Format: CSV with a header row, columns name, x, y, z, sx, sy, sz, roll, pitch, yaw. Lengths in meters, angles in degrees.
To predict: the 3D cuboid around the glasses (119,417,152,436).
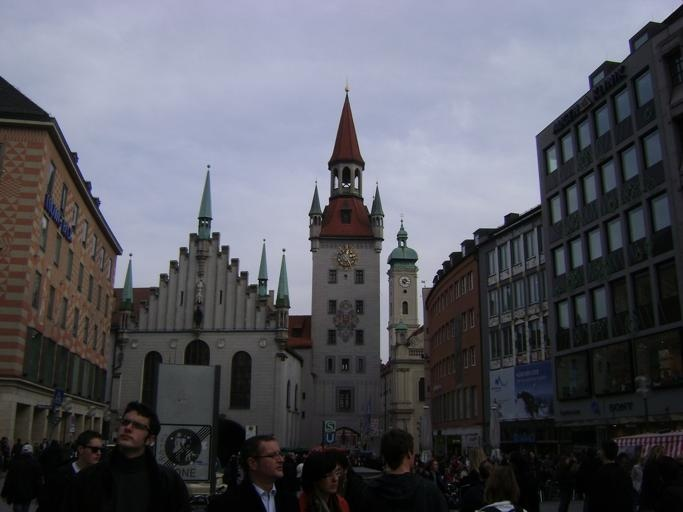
name,x,y,z,sx,sy,sz,roll,pitch,yaw
glasses,-1.813,1.512,6.210,0.267,0.147,0.168,3,-18,-12
